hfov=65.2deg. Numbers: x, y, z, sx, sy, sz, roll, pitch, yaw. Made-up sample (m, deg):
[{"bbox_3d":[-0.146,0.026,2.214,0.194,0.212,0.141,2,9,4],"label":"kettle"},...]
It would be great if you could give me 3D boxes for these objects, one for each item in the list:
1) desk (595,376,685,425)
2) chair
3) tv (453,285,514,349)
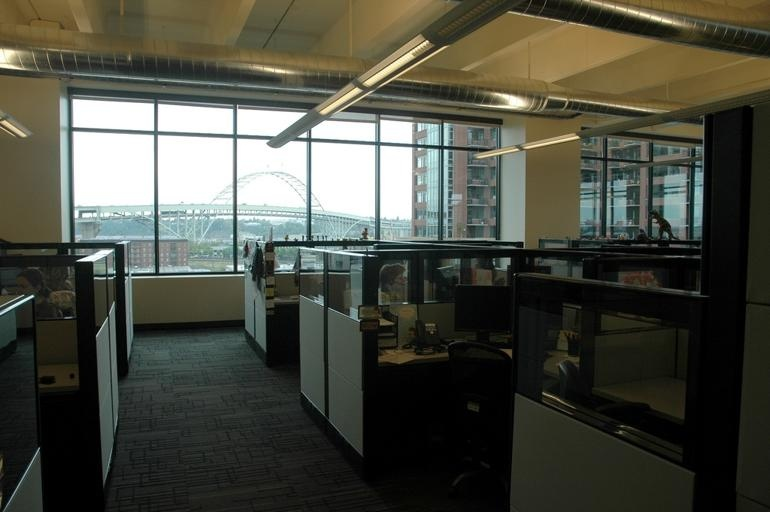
[{"bbox_3d":[1.749,0.864,4.050,0.564,0.243,0.433,8,12,34],"label":"desk"},{"bbox_3d":[0.840,1.389,5.366,0.556,1.356,0.522,3,9,9],"label":"chair"},{"bbox_3d":[0.985,0.584,5.933,0.626,0.662,0.256,0,-2,-2],"label":"tv"}]
